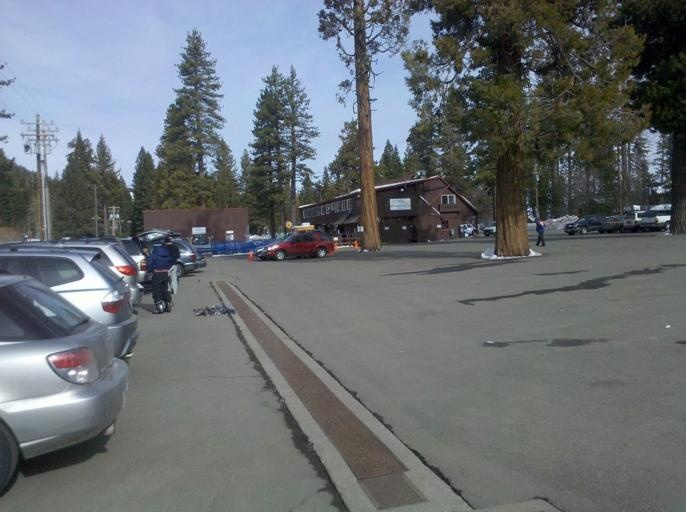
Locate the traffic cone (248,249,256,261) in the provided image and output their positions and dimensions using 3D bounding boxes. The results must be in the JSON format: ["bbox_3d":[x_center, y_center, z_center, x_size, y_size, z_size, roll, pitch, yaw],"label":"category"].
[{"bbox_3d":[-7.508,-0.071,46.634,0.772,0.990,0.843,4,4,3],"label":"traffic cone"}]

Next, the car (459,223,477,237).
[{"bbox_3d":[17.445,-3.844,78.647,2.128,1.913,3.444,-4,-4,45],"label":"car"}]
